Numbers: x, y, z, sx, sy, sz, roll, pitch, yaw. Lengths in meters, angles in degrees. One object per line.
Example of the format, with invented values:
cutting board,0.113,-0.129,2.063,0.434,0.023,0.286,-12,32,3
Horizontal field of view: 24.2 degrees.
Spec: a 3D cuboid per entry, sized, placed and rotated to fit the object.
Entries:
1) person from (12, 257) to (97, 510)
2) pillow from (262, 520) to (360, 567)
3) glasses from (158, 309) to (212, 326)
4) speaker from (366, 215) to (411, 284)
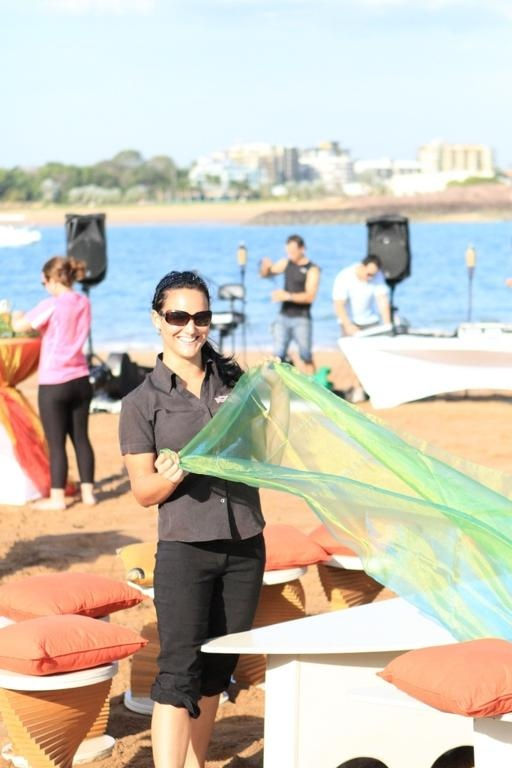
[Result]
person,-1.173,0.028,7.119,0.447,1.567,0.531,-6,11,-18
pillow,0.179,0.633,4.644,0.222,0.071,0.232,6,7,44
glasses,-0.196,-0.186,3.377,0.142,0.055,0.103,-4,11,-6
speaker,1.188,-1.192,10.579,0.416,0.589,0.224,-1,-25,5
